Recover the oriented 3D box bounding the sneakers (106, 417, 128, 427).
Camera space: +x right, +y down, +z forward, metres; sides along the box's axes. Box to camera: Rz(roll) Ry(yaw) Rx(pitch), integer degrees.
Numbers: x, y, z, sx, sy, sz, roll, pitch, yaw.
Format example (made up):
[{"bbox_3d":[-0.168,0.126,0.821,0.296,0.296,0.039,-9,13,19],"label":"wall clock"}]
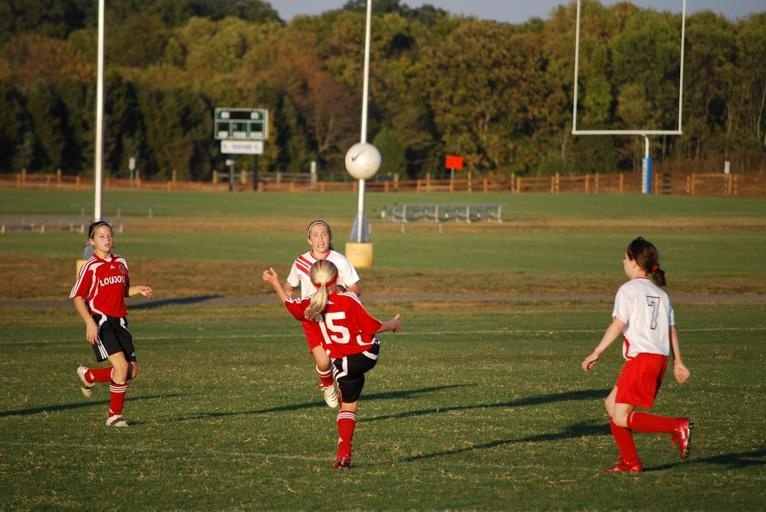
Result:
[{"bbox_3d":[-7.779,4.755,50.003,0.557,0.250,0.299,-1,1,18],"label":"sneakers"}]
